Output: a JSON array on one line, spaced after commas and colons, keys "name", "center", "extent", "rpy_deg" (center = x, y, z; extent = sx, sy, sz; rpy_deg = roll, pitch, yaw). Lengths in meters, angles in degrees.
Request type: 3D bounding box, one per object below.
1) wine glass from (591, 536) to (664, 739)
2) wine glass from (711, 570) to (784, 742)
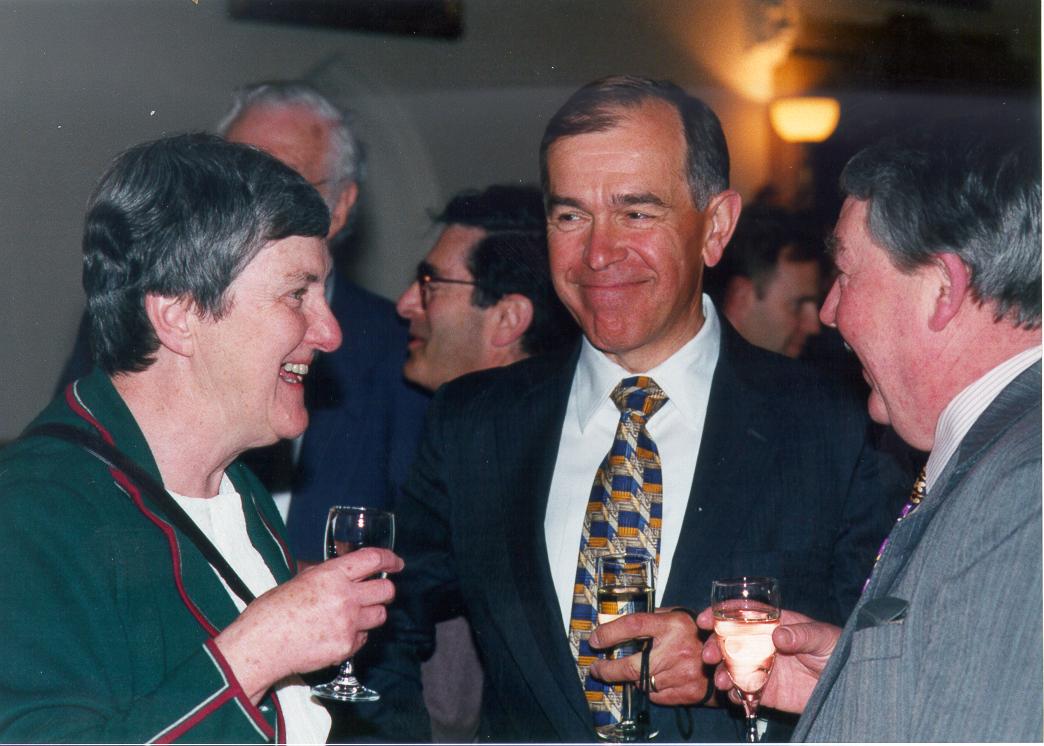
[{"name": "wine glass", "center": [0.279, 0.762, 3.572], "extent": [0.208, 0.605, 0.323], "rpy_deg": [-6, 12, 4]}, {"name": "wine glass", "center": [0.596, 0.762, 3.409], "extent": [0.170, 0.453, 0.169], "rpy_deg": [-5, 12, 9]}]
